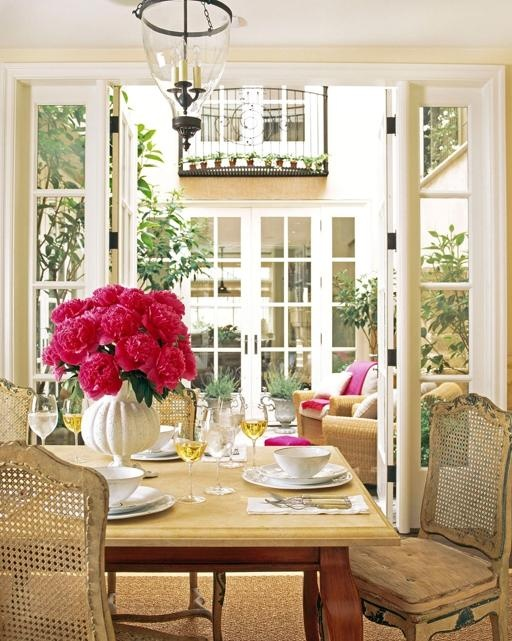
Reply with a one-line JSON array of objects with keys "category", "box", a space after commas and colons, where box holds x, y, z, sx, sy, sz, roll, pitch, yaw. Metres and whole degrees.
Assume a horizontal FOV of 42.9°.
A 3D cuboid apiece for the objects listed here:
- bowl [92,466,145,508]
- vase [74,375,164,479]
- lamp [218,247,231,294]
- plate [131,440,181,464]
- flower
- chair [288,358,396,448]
[{"category": "bowl", "box": [-0.301, 0.355, 1.416, 0.133, 0.071, 0.135, 0, -7, 0]}, {"category": "vase", "box": [-0.347, 0.261, 1.698, 0.216, 0.297, 0.216, 0, 4, -10]}, {"category": "lamp", "box": [-0.337, -0.487, 6.644, 0.115, 0.486, 0.062, -1, 3, -4]}, {"category": "plate", "box": [-0.311, 0.422, 2.028, 0.137, 0.027, 0.135, -2, -1, 1]}, {"category": "flower", "box": [-0.339, 0.027, 1.672, 0.342, 0.342, 0.325, -1, 2, -11]}, {"category": "chair", "box": [0.714, 0.618, 5.176, 0.736, 0.755, 0.777, 2, -6, -14]}]
